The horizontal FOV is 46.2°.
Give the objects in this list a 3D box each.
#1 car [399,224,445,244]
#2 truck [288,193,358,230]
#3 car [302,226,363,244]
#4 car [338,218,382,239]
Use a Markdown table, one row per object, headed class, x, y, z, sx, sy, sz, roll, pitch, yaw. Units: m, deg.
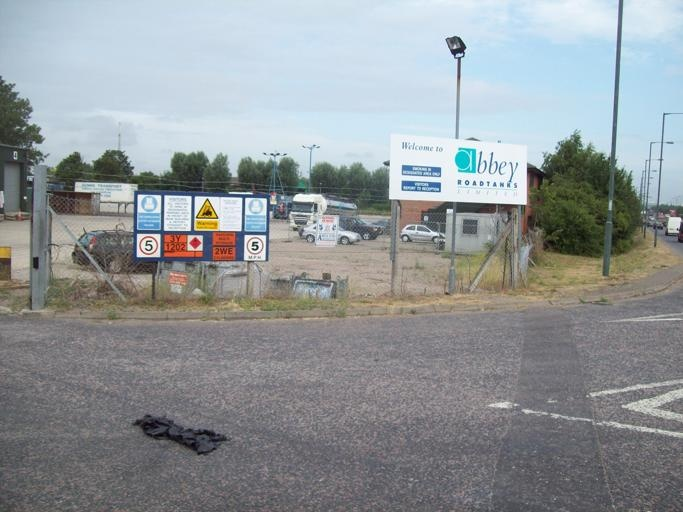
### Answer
| class | x | y | z | sx | sy | sz | roll | pitch | yaw |
| --- | --- | --- | --- | --- | --- | --- | --- | --- | --- |
| car | 4.647 | -1.209 | 48.561 | 1.942 | 0.959 | 1.234 | 0 | 6 | 12 |
| truck | -1.427 | -3.183 | 59.870 | 2.350 | 3.256 | 9.440 | 2 | 5 | 20 |
| car | -0.620 | -1.036 | 43.973 | 2.586 | 1.030 | 1.313 | 0 | 7 | 1 |
| car | 1.249 | -1.858 | 52.472 | 2.343 | 1.206 | 1.262 | 2 | 13 | 8 |
